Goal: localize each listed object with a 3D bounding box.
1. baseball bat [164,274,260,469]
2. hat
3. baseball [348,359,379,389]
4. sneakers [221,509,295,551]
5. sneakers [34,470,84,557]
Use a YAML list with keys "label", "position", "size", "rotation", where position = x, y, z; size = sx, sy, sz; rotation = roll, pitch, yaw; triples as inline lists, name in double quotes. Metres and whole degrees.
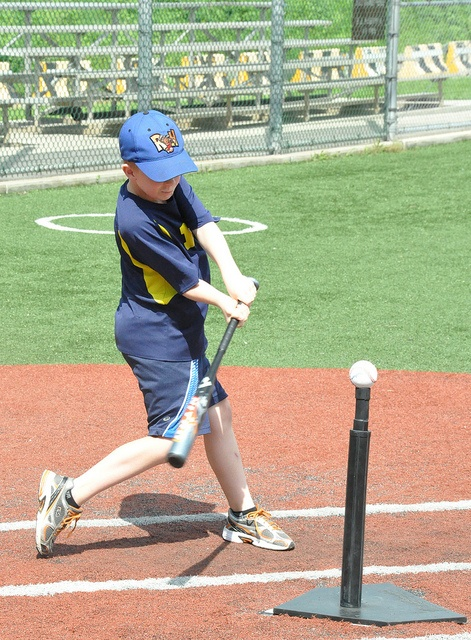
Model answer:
- label: "baseball bat"
  position: [-0.067, 0.181, 3.121]
  size: [0.093, 0.053, 0.706]
  rotation: [39, 29, -4]
- label: "hat"
  position: [-0.235, -0.564, 3.261]
  size: [0.193, 0.135, 0.290]
  rotation: [-29, 48, -24]
- label: "baseball"
  position: [0.340, 0.139, 2.807]
  size: [0.082, 0.064, 0.081]
  rotation: [12, 10, 5]
- label: "sneakers"
  position: [0.089, 0.697, 3.562]
  size: [0.292, 0.119, 0.108]
  rotation: [6, 10, 44]
- label: "sneakers"
  position: [-0.582, 0.635, 3.495]
  size: [0.173, 0.282, 0.106]
  rotation: [5, -9, 1]
